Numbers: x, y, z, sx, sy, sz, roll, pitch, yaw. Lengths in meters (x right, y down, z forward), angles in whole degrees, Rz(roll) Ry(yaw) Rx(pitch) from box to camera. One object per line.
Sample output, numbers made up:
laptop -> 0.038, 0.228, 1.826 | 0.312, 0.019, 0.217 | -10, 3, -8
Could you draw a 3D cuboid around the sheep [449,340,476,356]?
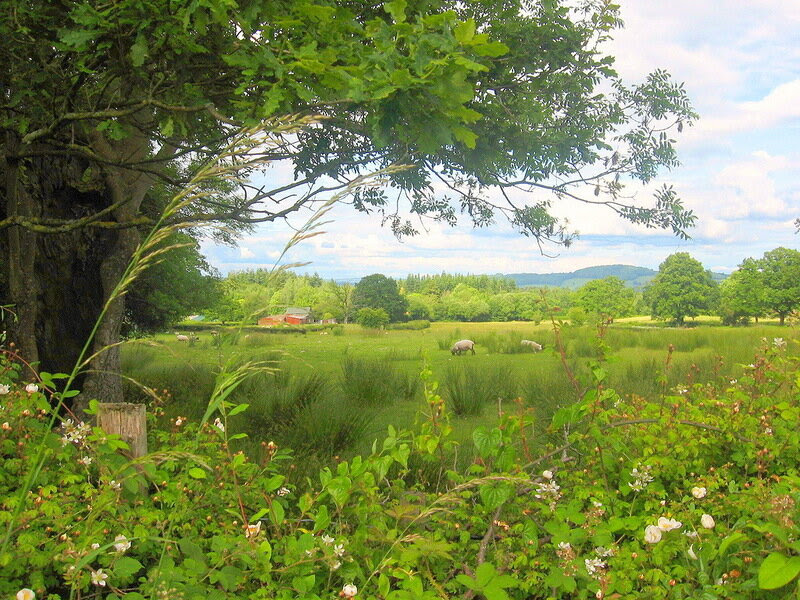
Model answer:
sheep -> 1.577, 1.227, 17.011 | 0.658, 0.403, 0.424 | 3, 4, 31
